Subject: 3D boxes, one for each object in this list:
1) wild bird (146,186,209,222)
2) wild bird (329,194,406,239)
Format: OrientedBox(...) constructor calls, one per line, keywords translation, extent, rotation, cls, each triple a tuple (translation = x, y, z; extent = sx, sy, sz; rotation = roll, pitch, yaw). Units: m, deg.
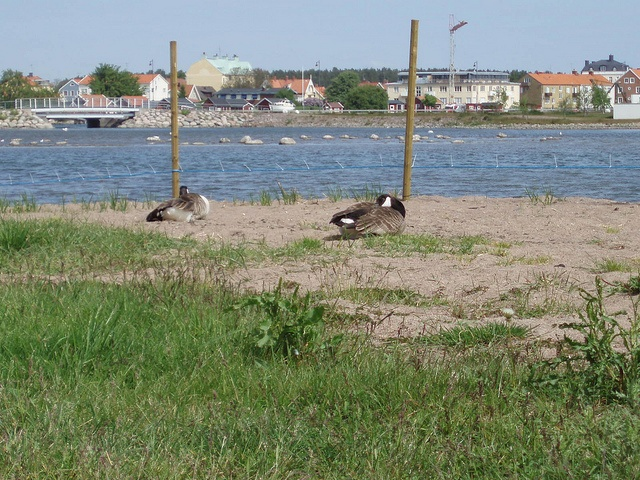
OrientedBox(translation=(-2.219, -0.578, 18.424), extent=(0.456, 0.585, 0.831), rotation=(0, 2, 40), cls="wild bird")
OrientedBox(translation=(0.787, -0.359, 16.652), extent=(1.070, 0.654, 0.567), rotation=(-2, 6, -45), cls="wild bird")
